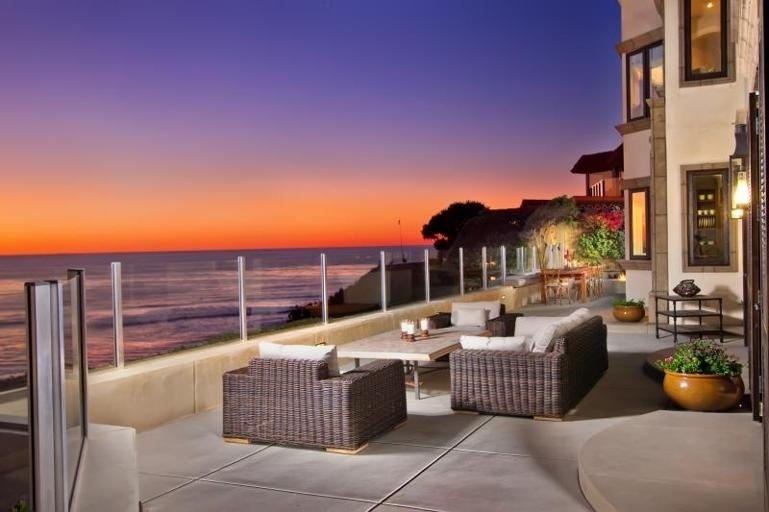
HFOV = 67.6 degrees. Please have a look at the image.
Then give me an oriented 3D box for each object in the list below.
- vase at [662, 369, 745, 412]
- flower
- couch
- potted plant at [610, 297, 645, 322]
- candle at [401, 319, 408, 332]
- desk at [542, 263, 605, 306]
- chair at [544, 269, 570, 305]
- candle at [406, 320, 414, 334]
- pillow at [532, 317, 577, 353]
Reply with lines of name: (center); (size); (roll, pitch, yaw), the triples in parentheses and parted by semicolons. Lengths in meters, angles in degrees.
vase: (4.445, 1.854, 8.032); (1.064, 0.458, 0.998); (-1, -4, 19)
flower: (4.497, 1.405, 8.000); (1.212, 0.556, 0.890); (-1, 3, -42)
couch: (2.448, 1.617, 9.193); (1.675, 1.045, 3.168); (-3, 1, 31)
potted plant: (6.336, 1.403, 14.854); (0.749, 0.488, 0.956); (-2, 4, 21)
candle: (0.332, 1.158, 9.587); (0.191, 0.196, 0.180); (0, 2, -5)
desk: (6.684, 0.968, 20.549); (1.501, 1.249, 2.243); (4, 5, 32)
chair: (6.043, 1.037, 20.236); (0.877, 1.147, 0.857); (-2, 4, 22)
candle: (0.384, 1.195, 9.611); (0.199, 0.206, 0.194); (0, 1, 18)
pillow: (2.434, 1.123, 8.131); (0.382, 0.289, 1.577); (-8, -1, 28)
